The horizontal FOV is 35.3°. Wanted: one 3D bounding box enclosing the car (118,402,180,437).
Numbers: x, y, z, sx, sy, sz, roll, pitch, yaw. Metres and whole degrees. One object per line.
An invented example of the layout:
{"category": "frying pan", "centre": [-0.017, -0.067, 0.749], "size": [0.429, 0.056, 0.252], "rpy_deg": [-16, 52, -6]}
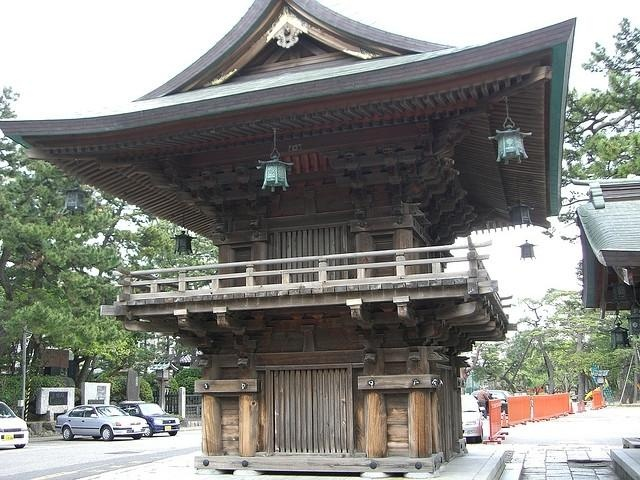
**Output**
{"category": "car", "centre": [-7.934, 8.230, 46.671], "size": [2.528, 0.964, 1.429], "rpy_deg": [-10, -15, 36]}

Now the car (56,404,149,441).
{"category": "car", "centre": [-9.815, 8.113, 44.667], "size": [3.657, 1.469, 1.475], "rpy_deg": [-5, -10, 31]}

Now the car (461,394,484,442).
{"category": "car", "centre": [5.708, 6.715, 37.561], "size": [0.725, 1.589, 2.426], "rpy_deg": [-1, -8, 8]}
